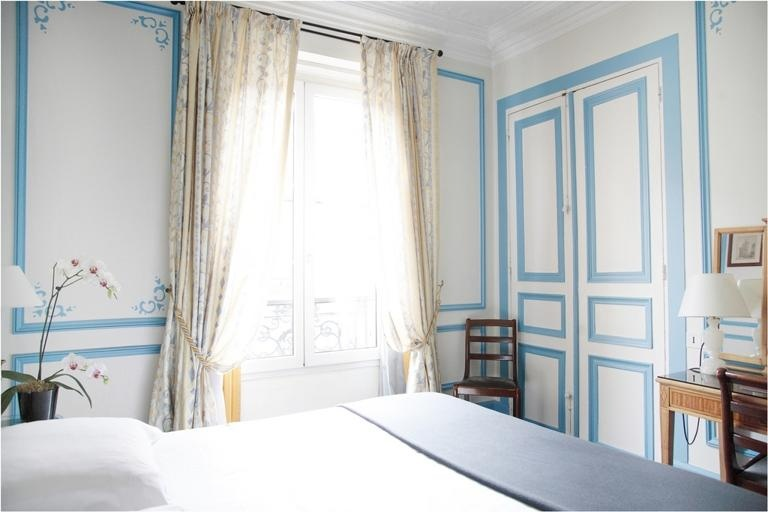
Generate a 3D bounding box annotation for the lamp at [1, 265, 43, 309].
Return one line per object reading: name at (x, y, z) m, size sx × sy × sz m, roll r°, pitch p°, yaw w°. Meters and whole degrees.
lamp at (-2.035, 0.161, 2.926) m, size 0.218 × 0.232 × 0.222 m, roll -5°, pitch 3°, yaw -33°

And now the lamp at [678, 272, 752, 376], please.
lamp at (2.104, 0.446, 3.360) m, size 0.529 × 0.640 × 0.522 m, roll 3°, pitch -5°, yaw -27°

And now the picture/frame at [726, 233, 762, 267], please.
picture/frame at (2.319, -0.034, 3.355) m, size 0.010 × 0.242 × 0.205 m, roll 12°, pitch -10°, yaw -41°

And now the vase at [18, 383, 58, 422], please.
vase at (-1.975, 0.834, 2.975) m, size 0.152 × 0.137 × 0.175 m, roll 10°, pitch 3°, yaw 20°

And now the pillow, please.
pillow at (-1.333, 0.904, 2.242) m, size 0.454 × 0.110 × 0.467 m, roll 11°, pitch 3°, yaw 20°
